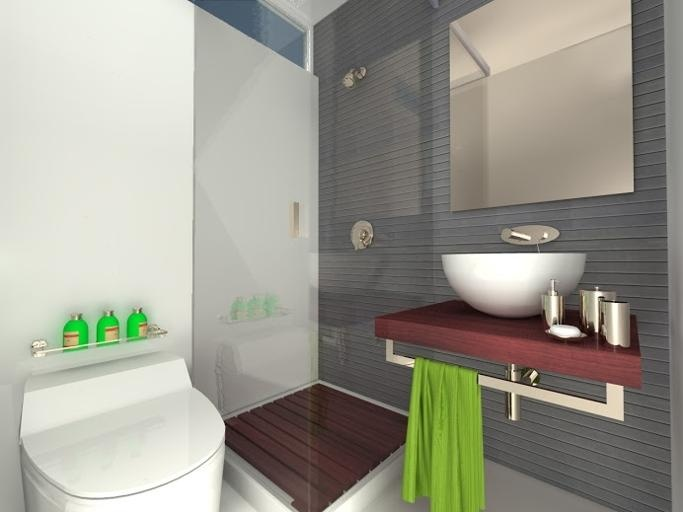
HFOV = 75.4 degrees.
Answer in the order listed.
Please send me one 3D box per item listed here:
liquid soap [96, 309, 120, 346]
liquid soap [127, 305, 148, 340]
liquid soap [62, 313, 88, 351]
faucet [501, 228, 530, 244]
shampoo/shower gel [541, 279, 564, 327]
[{"bbox_3d":[-1.195,0.359,2.247,0.110,0.173,0.082,-7,3,-29],"label":"liquid soap"},{"bbox_3d":[-1.085,0.355,2.337,0.107,0.166,0.100,-8,3,-31],"label":"liquid soap"},{"bbox_3d":[-1.306,0.366,2.163,0.113,0.180,0.085,-7,3,-29],"label":"liquid soap"},{"bbox_3d":[0.887,-0.098,2.252,0.132,0.064,0.039,14,-9,19],"label":"faucet"},{"bbox_3d":[0.813,0.182,1.698,0.079,0.178,0.151,-5,2,23],"label":"shampoo/shower gel"}]
